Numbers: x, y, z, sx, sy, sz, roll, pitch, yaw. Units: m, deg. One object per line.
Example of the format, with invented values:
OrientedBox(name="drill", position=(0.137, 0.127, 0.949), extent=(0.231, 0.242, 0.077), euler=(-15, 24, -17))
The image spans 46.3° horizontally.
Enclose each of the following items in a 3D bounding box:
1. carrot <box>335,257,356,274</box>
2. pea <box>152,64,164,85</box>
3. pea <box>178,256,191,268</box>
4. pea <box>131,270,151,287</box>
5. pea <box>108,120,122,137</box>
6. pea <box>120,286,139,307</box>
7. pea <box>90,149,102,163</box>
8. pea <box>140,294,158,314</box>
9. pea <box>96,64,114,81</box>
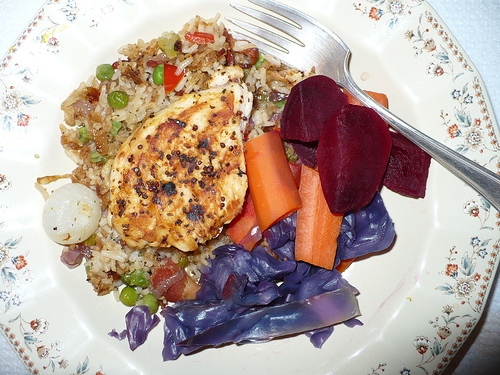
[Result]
OrientedBox(name="carrot", position=(1.011, 0.821, 6.234), extent=(0.085, 0.082, 0.311), euler=(25, 123, -2))
OrientedBox(name="pea", position=(-0.976, -1.217, 6.268), extent=(0.089, 0.136, 0.205), euler=(4, 86, 1))
OrientedBox(name="pea", position=(-0.713, 0.795, 6.313), extent=(0.112, 0.040, 0.092), euler=(-37, 120, -23))
OrientedBox(name="pea", position=(-1.179, 0.982, 6.202), extent=(0.160, 0.068, 0.154), euler=(6, 100, -19))
OrientedBox(name="pea", position=(-1.449, -0.638, 6.296), extent=(0.107, 0.069, 0.176), euler=(17, 85, 0))
OrientedBox(name="pea", position=(-1.298, 1.160, 6.262), extent=(0.194, 0.099, 0.205), euler=(17, 85, 0))
OrientedBox(name="pea", position=(-1.653, -0.328, 6.264), extent=(0.114, 0.054, 0.110), euler=(-2, 85, -2))
OrientedBox(name="pea", position=(-1.072, 1.230, 6.283), extent=(0.206, 0.106, 0.161), euler=(40, 85, 2))
OrientedBox(name="pea", position=(-1.569, -1.244, 6.304), extent=(0.192, 0.086, 0.163), euler=(0, 85, -1))
